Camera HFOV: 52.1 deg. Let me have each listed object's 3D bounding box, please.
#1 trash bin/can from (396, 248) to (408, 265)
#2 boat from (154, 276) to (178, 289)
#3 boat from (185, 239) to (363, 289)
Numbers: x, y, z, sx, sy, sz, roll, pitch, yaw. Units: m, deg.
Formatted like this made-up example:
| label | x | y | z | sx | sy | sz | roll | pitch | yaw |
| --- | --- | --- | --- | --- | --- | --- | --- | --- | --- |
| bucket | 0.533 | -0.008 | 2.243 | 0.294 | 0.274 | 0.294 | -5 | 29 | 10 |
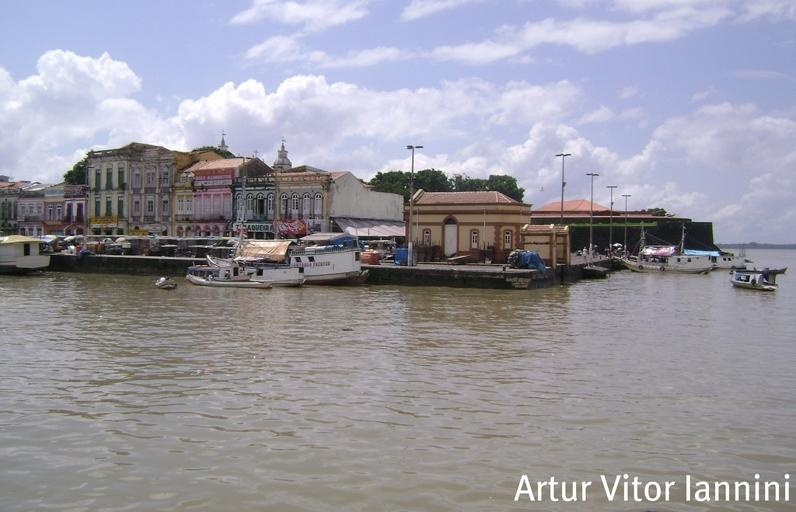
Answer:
| label | x | y | z | sx | sy | sz | roll | pitch | yaw |
| --- | --- | --- | --- | --- | --- | --- | --- | --- | --- |
| trash bin/can | 0.264 | -0.007 | 56.358 | 1.154 | 0.974 | 1.091 | 3 | 7 | 23 |
| boat | -13.560 | 1.501 | 47.155 | 0.816 | 0.528 | 2.179 | 2 | 3 | -15 |
| boat | -7.369 | 0.568 | 49.282 | 9.033 | 2.337 | 3.749 | 1 | -2 | -2 |
